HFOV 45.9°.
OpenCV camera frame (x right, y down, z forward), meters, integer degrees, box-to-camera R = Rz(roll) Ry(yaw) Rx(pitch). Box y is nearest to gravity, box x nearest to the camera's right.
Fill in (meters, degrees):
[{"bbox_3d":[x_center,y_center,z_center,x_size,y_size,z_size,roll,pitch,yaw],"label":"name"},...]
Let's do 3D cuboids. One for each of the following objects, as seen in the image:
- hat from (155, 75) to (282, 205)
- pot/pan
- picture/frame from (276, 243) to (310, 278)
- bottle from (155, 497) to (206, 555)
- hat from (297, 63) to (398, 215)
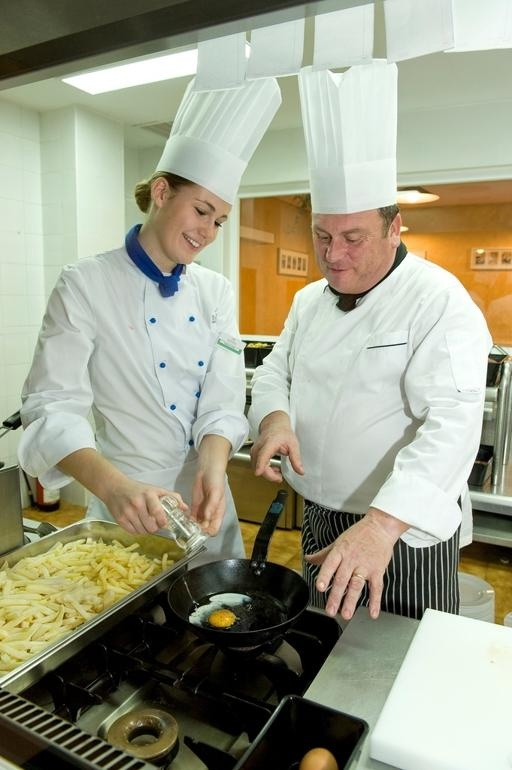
[{"bbox_3d":[-0.070,-0.549,1.347,0.227,0.223,0.196,2,15,-41],"label":"hat"},{"bbox_3d":[-0.001,0.324,1.083,0.228,0.064,0.386,2,21,21],"label":"pot/pan"},{"bbox_3d":[0.251,-0.824,3.958,0.227,0.185,0.073,7,8,33],"label":"picture/frame"},{"bbox_3d":[-0.119,0.226,0.985,0.060,0.078,0.120,-3,5,-21],"label":"bottle"},{"bbox_3d":[0.217,-0.523,1.299,0.246,0.286,0.210,4,23,19],"label":"hat"}]
